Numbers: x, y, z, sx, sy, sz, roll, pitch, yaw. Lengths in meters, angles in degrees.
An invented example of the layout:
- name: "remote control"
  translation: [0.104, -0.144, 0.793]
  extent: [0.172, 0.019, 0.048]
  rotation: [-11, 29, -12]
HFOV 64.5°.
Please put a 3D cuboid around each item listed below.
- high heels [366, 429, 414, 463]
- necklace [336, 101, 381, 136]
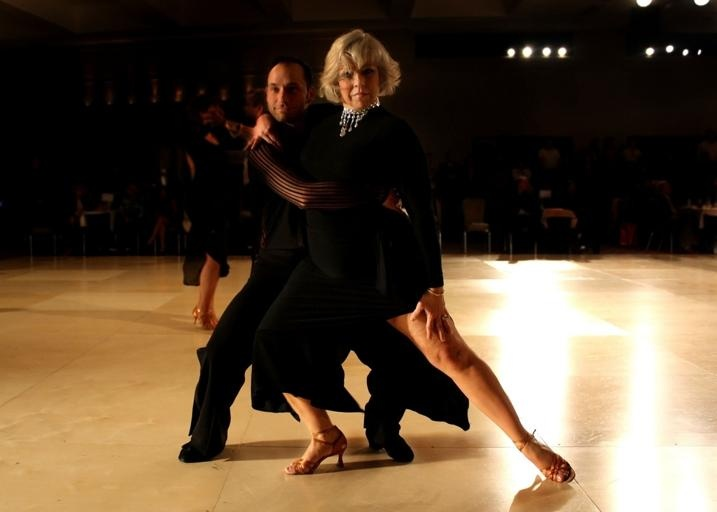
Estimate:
- name: "high heels"
  translation: [0.160, 0.919, 2.845]
  extent: [0.284, 0.128, 0.109]
  rotation: [7, 13, 38]
- name: "necklace"
  translation: [0.013, -0.601, 2.416]
  extent: [0.211, 0.178, 0.169]
  rotation: [8, 20, 40]
